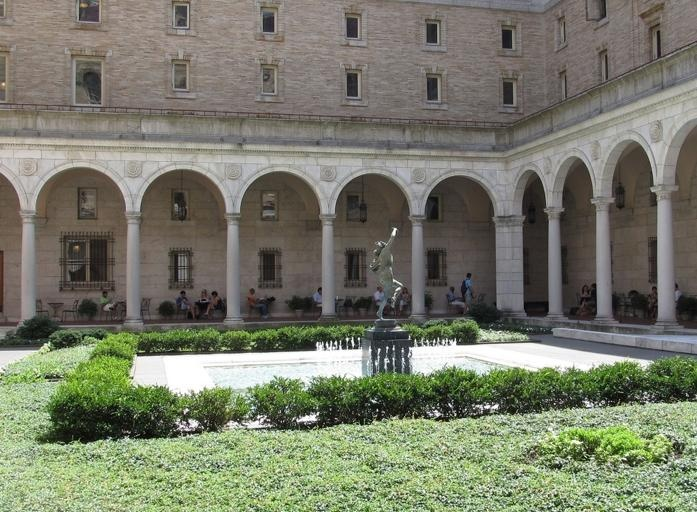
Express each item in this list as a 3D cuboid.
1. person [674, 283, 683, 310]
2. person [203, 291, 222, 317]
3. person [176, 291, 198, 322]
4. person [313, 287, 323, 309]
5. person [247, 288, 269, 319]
[{"bbox_3d":[11.591,1.456,34.254,0.188,0.644,0.997,1,12,18],"label":"person"},{"bbox_3d":[-5.168,1.863,37.526,0.633,0.904,1.014,-3,12,-5],"label":"person"},{"bbox_3d":[-6.214,1.901,37.384,0.754,1.080,1.089,-5,12,-11],"label":"person"},{"bbox_3d":[-1.229,1.742,38.643,0.331,0.825,0.744,-1,12,6],"label":"person"},{"bbox_3d":[-3.521,1.827,38.016,0.779,1.094,1.197,-9,13,-29],"label":"person"}]
